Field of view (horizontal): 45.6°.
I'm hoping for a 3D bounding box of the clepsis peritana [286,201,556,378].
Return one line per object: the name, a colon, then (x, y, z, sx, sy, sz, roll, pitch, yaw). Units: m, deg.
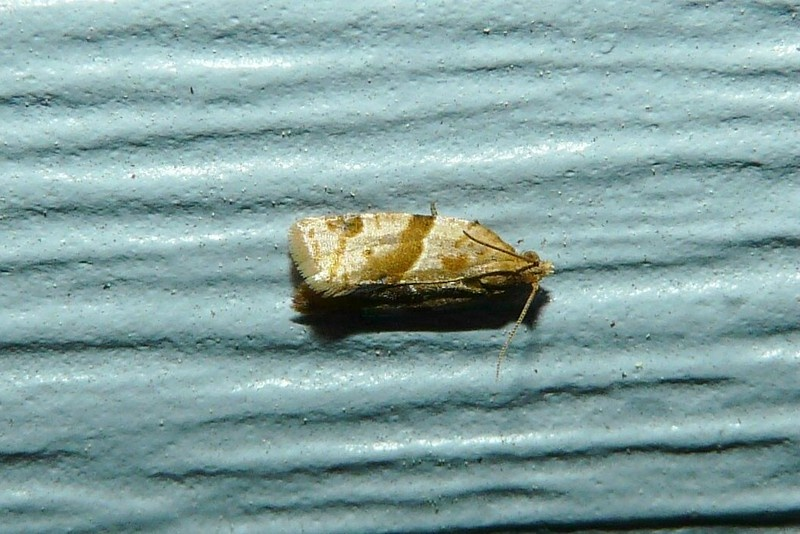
clepsis peritana: (0.091, -0.029, 6.046, 1.410, 0.706, 0.438, 2, 12, 4)
